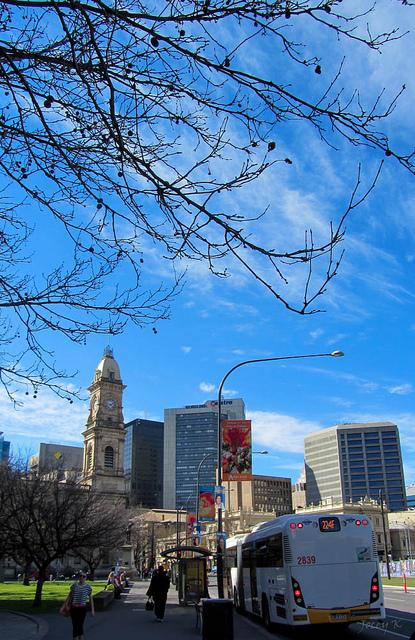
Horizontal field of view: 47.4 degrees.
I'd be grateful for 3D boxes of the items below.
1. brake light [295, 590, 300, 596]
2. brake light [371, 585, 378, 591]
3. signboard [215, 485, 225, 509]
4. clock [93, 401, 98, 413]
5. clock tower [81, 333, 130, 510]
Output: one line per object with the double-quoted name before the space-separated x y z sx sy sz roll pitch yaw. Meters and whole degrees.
"brake light" 2.465 7.412 12.844 0.124 0.131 0.023 -4 -19 8
"brake light" 4.647 7.398 13.055 0.184 0.142 0.020 2 -19 -9
"signboard" 0.558 7.855 20.979 0.412 0.891 0.705 0 -19 -3
"clock" -22.543 17.449 95.072 0.391 2.050 2.074 9 -22 -28
"clock tower" -19.581 19.323 92.535 7.914 32.143 33.992 2 -19 -10
